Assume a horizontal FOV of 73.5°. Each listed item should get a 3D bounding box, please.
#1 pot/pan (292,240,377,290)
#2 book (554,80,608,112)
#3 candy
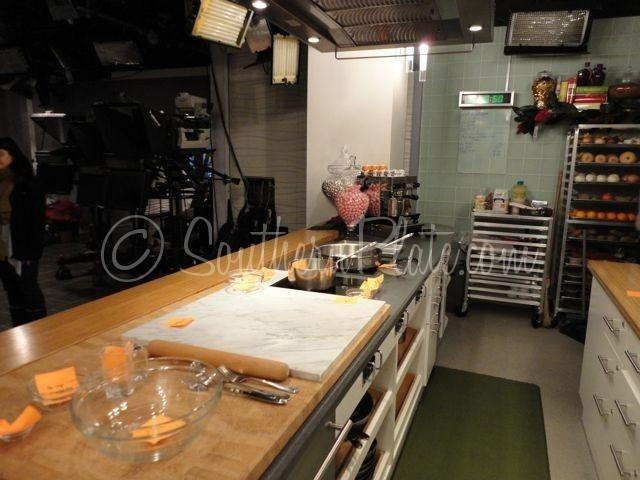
[{"bbox_3d":[0.057,0.112,2.035,0.333,0.191,0.509,8,8,24],"label":"pot/pan"},{"bbox_3d":[2.534,-1.391,4.230,0.345,0.392,0.358,2,10,7],"label":"book"},{"bbox_3d":[0.198,-0.285,2.925,0.253,0.425,0.270,5,8,29],"label":"candy"}]
